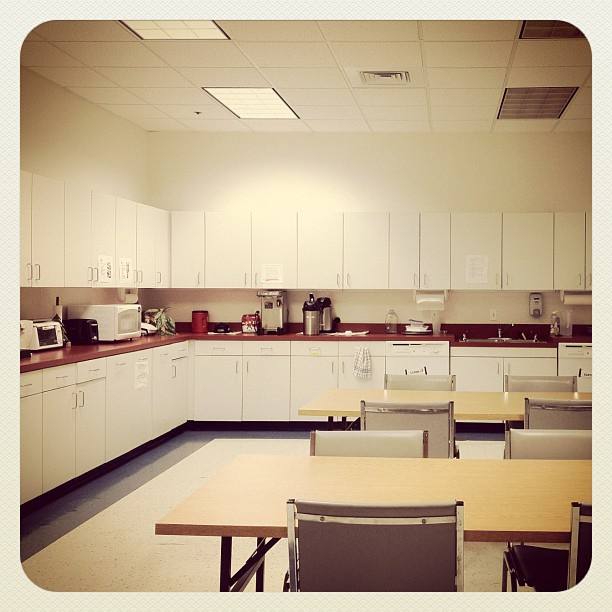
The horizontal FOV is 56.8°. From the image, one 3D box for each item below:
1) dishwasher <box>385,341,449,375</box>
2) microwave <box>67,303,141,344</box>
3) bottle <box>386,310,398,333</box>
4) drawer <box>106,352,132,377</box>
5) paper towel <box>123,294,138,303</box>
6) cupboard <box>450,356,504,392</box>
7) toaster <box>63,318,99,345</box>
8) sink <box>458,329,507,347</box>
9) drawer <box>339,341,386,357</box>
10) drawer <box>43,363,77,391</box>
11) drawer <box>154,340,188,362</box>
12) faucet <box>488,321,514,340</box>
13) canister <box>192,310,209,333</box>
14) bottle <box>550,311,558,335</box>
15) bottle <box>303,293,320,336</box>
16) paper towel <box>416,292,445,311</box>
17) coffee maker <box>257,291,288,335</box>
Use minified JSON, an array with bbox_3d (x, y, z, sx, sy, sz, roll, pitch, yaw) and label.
[{"bbox_3d":[1.067,0.491,5.434,0.604,0.310,0.065,-1,1,5],"label":"dishwasher"},{"bbox_3d":[-1.719,0.129,4.780,0.376,0.272,0.488,0,-1,12],"label":"microwave"},{"bbox_3d":[0.907,0.163,5.978,0.121,0.239,0.038,-1,1,6],"label":"bottle"},{"bbox_3d":[-1.420,0.442,4.276,0.129,0.080,0.170,4,3,30],"label":"drawer"},{"bbox_3d":[-1.768,-0.077,5.699,0.075,0.081,0.130,1,2,10],"label":"paper towel"},{"bbox_3d":[1.622,0.640,5.368,0.625,0.362,0.332,0,-1,5],"label":"cupboard"},{"bbox_3d":[-1.778,0.197,4.510,0.239,0.177,0.213,-1,3,4],"label":"toaster"},{"bbox_3d":[1.765,0.312,5.621,0.434,0.135,0.634,0,1,18],"label":"sink"},{"bbox_3d":[0.548,0.416,5.485,0.441,0.152,0.048,0,1,11],"label":"drawer"},{"bbox_3d":[-1.557,0.446,3.574,0.123,0.076,0.182,0,1,18],"label":"drawer"},{"bbox_3d":[-1.249,0.409,5.173,0.265,0.229,0.061,-3,4,-45],"label":"drawer"},{"bbox_3d":[2.017,0.252,5.847,0.255,0.183,0.084,0,1,15],"label":"faucet"},{"bbox_3d":[-1.123,0.179,6.026,0.226,0.208,0.206,0,3,12],"label":"canister"},{"bbox_3d":[2.527,0.174,5.764,0.067,0.238,0.115,0,1,20],"label":"bottle"},{"bbox_3d":[0.056,0.081,5.752,0.174,0.422,0.354,-1,1,0],"label":"bottle"},{"bbox_3d":[1.261,-0.049,5.812,0.268,0.174,0.125,1,-37,4],"label":"paper towel"},{"bbox_3d":[-0.344,0.066,5.941,0.319,0.448,0.237,-1,1,-6],"label":"coffee maker"}]
